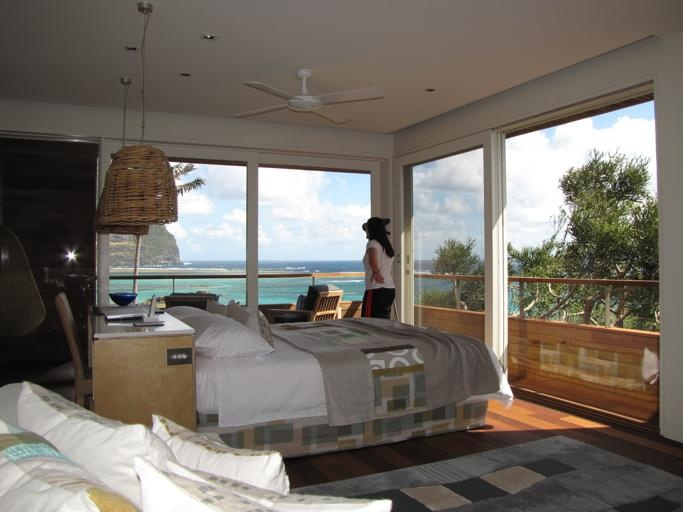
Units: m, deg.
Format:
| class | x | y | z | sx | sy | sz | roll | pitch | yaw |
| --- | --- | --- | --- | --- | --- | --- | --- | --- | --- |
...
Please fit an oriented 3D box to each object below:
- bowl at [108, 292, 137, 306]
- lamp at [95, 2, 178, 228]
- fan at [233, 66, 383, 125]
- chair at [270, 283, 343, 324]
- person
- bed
| class | x | y | z | sx | sy | sz | roll | pitch | yaw |
| --- | --- | --- | --- | --- | --- | --- | --- | --- | --- |
| bowl | -1.610 | 0.306 | 3.473 | 0.135 | 0.057 | 0.132 | 1 | 1 | 0 |
| lamp | -1.599 | -0.953 | 3.558 | 0.436 | 1.562 | 1.986 | -1 | 2 | -28 |
| fan | -0.308 | -1.538 | 4.481 | 0.709 | 0.178 | 0.698 | 8 | -13 | -36 |
| chair | -0.473 | 0.601 | 6.103 | 0.725 | 0.768 | 0.495 | 0 | -2 | 34 |
| person | 0.416 | 0.128 | 5.186 | 0.346 | 1.114 | 0.563 | 1 | 2 | 3 |
| bed | -0.011 | 0.899 | 3.355 | 1.234 | 0.359 | 1.208 | -2 | 3 | -26 |
